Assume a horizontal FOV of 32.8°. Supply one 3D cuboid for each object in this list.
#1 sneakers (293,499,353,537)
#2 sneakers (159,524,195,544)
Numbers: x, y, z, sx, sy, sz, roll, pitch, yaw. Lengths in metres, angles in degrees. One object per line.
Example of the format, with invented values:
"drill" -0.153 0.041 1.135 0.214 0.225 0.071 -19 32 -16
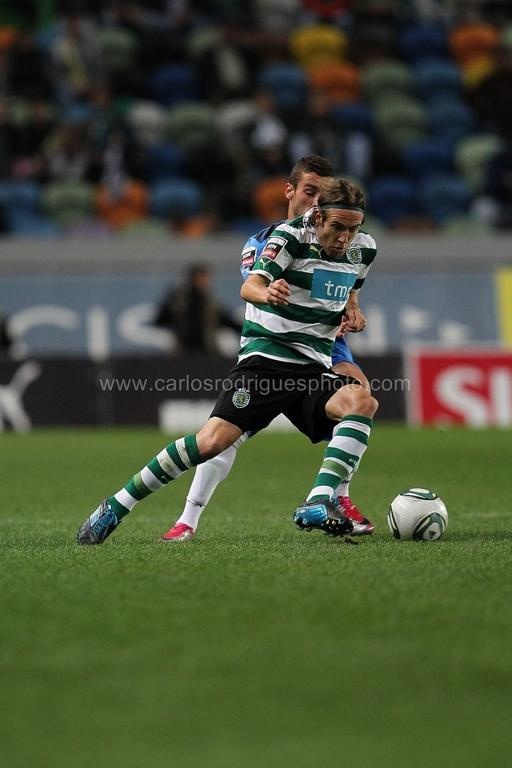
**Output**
"sneakers" 0.263 0.526 3.431 0.238 0.106 0.115 5 4 13
"sneakers" -0.332 0.631 3.660 0.059 0.156 0.058 3 81 30
